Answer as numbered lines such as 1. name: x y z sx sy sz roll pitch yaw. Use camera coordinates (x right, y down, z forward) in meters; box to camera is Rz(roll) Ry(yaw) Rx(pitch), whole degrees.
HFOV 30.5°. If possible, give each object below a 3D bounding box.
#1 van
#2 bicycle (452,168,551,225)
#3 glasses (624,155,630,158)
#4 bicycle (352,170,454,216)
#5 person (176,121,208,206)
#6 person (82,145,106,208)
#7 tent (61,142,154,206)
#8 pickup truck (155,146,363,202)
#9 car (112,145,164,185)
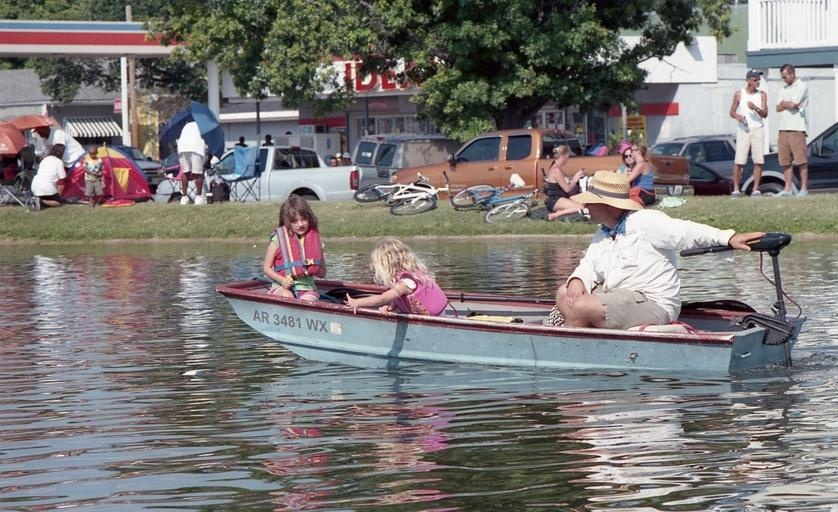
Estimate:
1. van: -0.384 -2.780 42.311 2.530 1.087 1.636 -5 10 -17
2. bicycle: 1.990 -1.449 38.341 1.445 0.947 2.227 -13 13 -36
3. glasses: 4.371 -2.106 32.224 0.079 0.063 0.025 -4 1 18
4. bicycle: -0.476 -1.598 39.341 2.289 0.913 1.397 2 8 43
5. person: -5.964 -2.483 40.885 0.777 2.237 1.406 -3 6 -8
6. person: -8.645 -2.126 41.153 0.520 1.608 1.012 -3 6 -11
7. tent: -8.461 -2.283 42.122 2.028 1.072 1.935 -7 9 -40
8. pickup truck: -4.383 -2.197 41.189 5.188 1.429 1.676 -1 30 1
9. car: -9.344 -3.089 51.634 1.546 0.972 2.888 -5 9 -31
